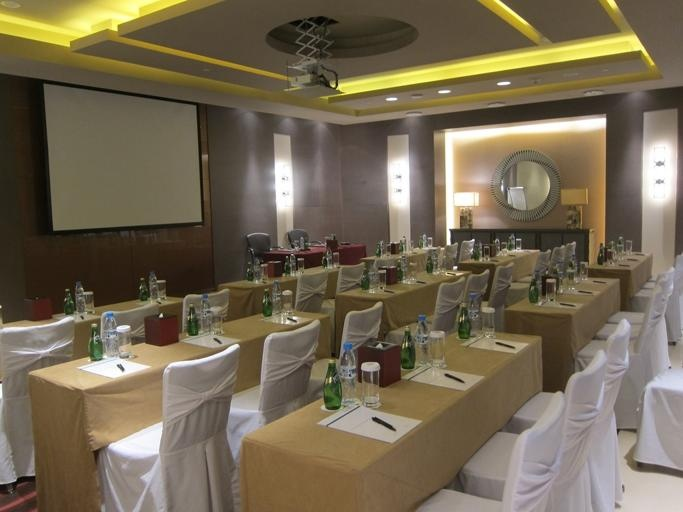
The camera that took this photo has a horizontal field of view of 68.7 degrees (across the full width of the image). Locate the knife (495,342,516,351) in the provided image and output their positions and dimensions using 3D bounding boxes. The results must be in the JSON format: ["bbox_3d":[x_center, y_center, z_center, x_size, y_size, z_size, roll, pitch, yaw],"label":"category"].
[{"bbox_3d":[1.196,0.658,3.655,0.039,0.034,0.149,-14,8,-29],"label":"knife"}]

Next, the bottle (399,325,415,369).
[{"bbox_3d":[0.458,0.622,3.397,0.092,0.260,0.195,-2,5,12],"label":"bottle"}]

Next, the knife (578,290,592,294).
[{"bbox_3d":[2.577,0.388,5.283,0.040,0.039,0.143,-12,16,-43],"label":"knife"}]

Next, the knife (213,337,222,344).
[{"bbox_3d":[-0.983,0.679,3.972,0.030,0.037,0.123,-2,8,-39],"label":"knife"}]

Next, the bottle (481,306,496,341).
[{"bbox_3d":[1.129,0.516,3.839,0.094,0.233,0.142,-1,5,15],"label":"bottle"}]

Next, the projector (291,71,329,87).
[{"bbox_3d":[-0.392,-2.098,6.016,0.251,0.074,0.289,6,12,31],"label":"projector"}]

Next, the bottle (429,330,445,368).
[{"bbox_3d":[0.639,0.616,3.342,0.101,0.253,0.221,-2,4,11],"label":"bottle"}]

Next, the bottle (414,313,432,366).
[{"bbox_3d":[0.550,0.567,3.405,0.090,0.340,0.138,-2,5,9],"label":"bottle"}]

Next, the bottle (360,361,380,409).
[{"bbox_3d":[0.177,0.728,2.927,0.113,0.247,0.242,-2,4,4],"label":"bottle"}]

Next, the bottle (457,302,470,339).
[{"bbox_3d":[0.956,0.512,3.898,0.104,0.259,0.164,-1,5,15],"label":"bottle"}]

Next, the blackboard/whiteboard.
[{"bbox_3d":[-3.681,-1.620,8.205,0.209,1.925,2.214,5,7,36],"label":"blackboard/whiteboard"}]

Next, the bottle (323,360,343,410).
[{"bbox_3d":[-0.055,0.732,2.898,0.110,0.280,0.180,-3,4,-1],"label":"bottle"}]

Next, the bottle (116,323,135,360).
[{"bbox_3d":[-1.605,0.632,3.703,0.101,0.222,0.214,-5,5,-25],"label":"bottle"}]

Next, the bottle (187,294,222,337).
[{"bbox_3d":[-1.192,0.529,4.355,0.242,0.518,0.254,2,5,0],"label":"bottle"}]

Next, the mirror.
[{"bbox_3d":[4.270,-1.606,11.407,1.381,1.683,0.079,-13,-3,38],"label":"mirror"}]

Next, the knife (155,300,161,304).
[{"bbox_3d":[-1.944,0.497,5.307,0.032,0.010,0.037,9,14,23],"label":"knife"}]

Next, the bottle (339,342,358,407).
[{"bbox_3d":[0.044,0.666,2.976,0.103,0.371,0.358,-2,4,2],"label":"bottle"}]
